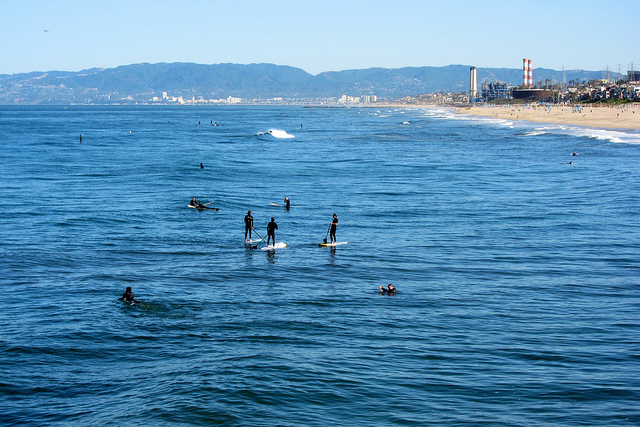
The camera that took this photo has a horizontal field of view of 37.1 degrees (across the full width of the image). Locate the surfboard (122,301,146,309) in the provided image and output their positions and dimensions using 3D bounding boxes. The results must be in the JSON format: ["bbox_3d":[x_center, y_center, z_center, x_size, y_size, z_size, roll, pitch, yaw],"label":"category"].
[{"bbox_3d":[-11.301,5.512,58.640,1.353,0.310,0.377,1,9,2],"label":"surfboard"}]

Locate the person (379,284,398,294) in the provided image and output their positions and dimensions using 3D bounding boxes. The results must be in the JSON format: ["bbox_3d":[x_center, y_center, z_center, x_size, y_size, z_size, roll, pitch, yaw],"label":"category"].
[{"bbox_3d":[5.272,4.737,60.382,0.938,0.480,0.620,-5,8,8],"label":"person"}]

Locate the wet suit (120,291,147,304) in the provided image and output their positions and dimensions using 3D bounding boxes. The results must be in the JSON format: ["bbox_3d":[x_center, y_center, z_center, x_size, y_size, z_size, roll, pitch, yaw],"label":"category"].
[{"bbox_3d":[-11.550,5.114,58.950,1.714,0.696,0.639,5,10,21],"label":"wet suit"}]

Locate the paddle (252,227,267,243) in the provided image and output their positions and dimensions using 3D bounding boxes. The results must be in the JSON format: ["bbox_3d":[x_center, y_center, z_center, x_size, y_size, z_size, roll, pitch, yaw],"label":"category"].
[{"bbox_3d":[-3.985,1.627,71.803,0.205,1.594,0.175,-50,2,26],"label":"paddle"}]

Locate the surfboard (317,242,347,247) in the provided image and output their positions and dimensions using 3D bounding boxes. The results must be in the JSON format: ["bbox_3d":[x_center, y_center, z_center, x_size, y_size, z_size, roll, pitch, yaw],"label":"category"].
[{"bbox_3d":[1.936,2.204,69.269,2.217,0.191,0.626,-3,6,-31],"label":"surfboard"}]

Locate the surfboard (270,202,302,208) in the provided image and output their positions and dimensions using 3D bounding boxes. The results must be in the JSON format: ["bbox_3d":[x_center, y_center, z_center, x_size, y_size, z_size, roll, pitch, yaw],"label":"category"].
[{"bbox_3d":[-2.116,-0.765,81.876,2.686,0.225,0.175,6,12,9],"label":"surfboard"}]

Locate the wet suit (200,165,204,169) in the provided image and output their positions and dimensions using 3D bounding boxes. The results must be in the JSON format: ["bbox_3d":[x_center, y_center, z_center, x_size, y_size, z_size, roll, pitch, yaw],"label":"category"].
[{"bbox_3d":[-12.302,-5.042,103.366,0.499,0.447,1.406,0,7,-7],"label":"wet suit"}]
